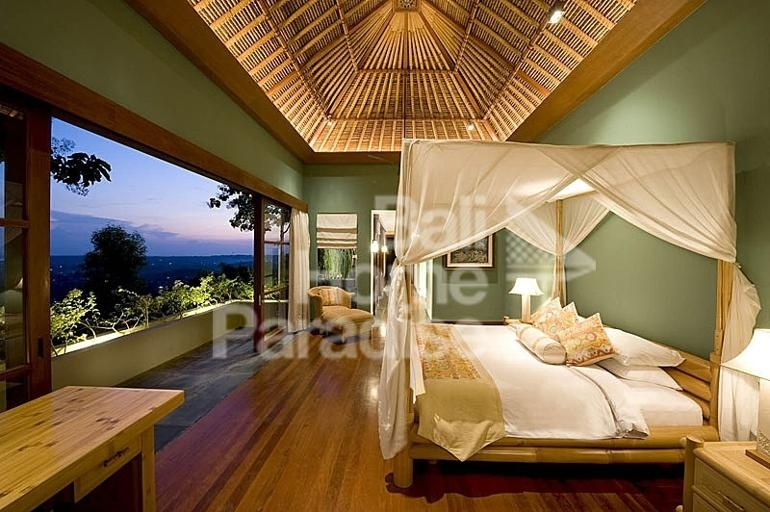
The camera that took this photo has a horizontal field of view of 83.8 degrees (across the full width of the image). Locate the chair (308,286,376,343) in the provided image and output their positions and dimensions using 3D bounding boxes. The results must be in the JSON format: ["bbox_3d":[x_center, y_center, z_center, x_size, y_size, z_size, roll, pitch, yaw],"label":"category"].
[{"bbox_3d":[-0.847,0.977,7.604,0.778,0.780,1.209,-1,3,-44],"label":"chair"}]

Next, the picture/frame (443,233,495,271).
[{"bbox_3d":[1.282,-0.057,6.357,0.616,0.550,0.044,0,-2,4],"label":"picture/frame"}]

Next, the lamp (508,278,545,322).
[{"bbox_3d":[1.985,0.630,6.111,0.516,0.631,0.532,1,-2,2],"label":"lamp"}]
